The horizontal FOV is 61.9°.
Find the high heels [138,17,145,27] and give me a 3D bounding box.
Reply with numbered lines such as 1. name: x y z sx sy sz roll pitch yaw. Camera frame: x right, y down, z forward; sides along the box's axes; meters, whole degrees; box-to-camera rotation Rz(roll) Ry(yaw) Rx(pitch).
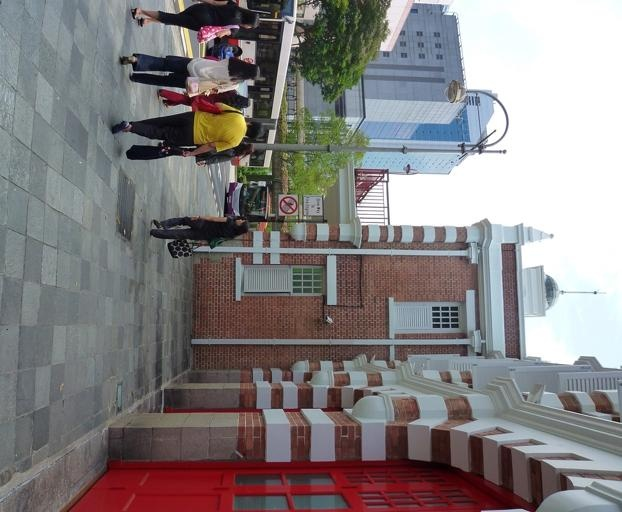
1. high heels: -3.027 -4.177 9.227 0.128 0.167 0.354 8 28 -22

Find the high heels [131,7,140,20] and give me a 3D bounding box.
1. high heels: -3.050 -4.195 8.974 0.139 0.213 0.085 9 19 34

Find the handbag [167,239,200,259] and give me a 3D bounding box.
1. handbag: -2.661 -0.301 10.769 0.649 0.525 0.252 -10 41 -14

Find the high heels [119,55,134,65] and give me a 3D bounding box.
1. high heels: -3.025 -3.195 8.493 0.220 0.090 0.130 -8 69 -35
